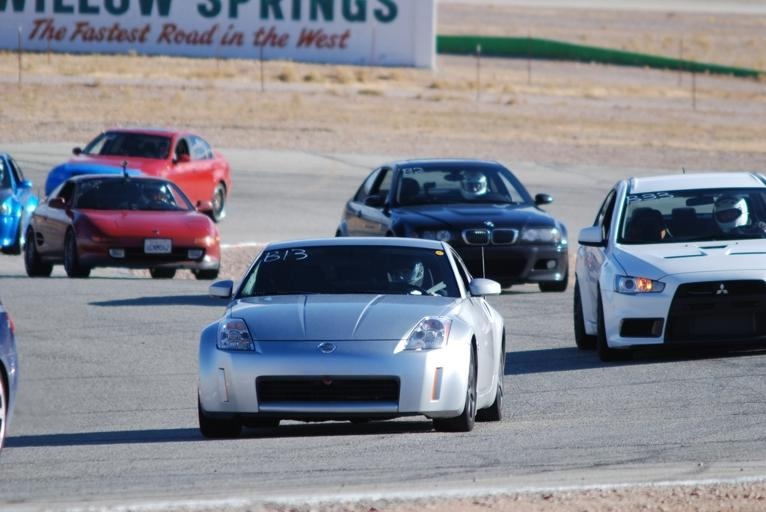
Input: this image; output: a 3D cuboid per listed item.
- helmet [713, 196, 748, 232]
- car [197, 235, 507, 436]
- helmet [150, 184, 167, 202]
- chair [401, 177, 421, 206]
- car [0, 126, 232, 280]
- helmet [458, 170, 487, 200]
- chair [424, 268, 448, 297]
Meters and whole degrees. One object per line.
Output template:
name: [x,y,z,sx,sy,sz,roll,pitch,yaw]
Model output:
helmet: [4.767,-0.593,23.049,0.424,0.501,0.520,-6,7,34]
car: [-0.371,1.014,19.869,3.512,2.091,1.864,-1,13,0]
helmet: [-3.923,-1.082,29.141,0.312,0.227,0.503,-1,-1,-6]
chair: [0.418,-1.029,27.469,0.368,0.471,0.394,0,-2,-3]
car: [-4.433,-0.476,28.521,3.332,1.934,1.976,1,13,6]
helmet: [1.462,-1.171,27.778,0.372,0.449,0.487,-1,-10,1]
chair: [0.624,0.365,20.104,0.240,0.243,0.158,2,-2,-32]
